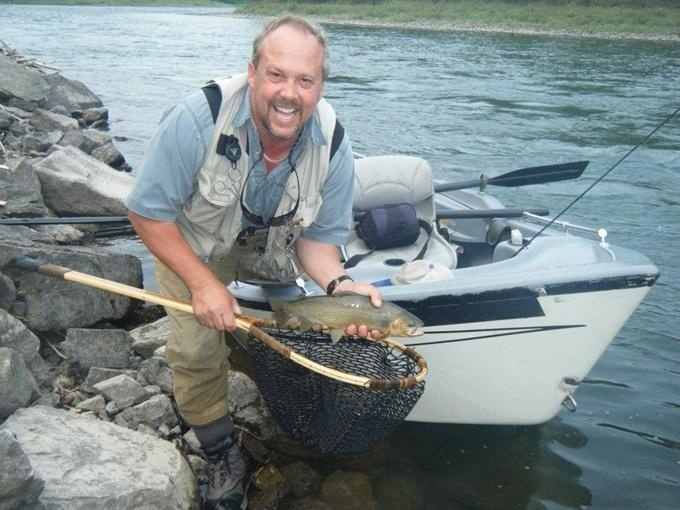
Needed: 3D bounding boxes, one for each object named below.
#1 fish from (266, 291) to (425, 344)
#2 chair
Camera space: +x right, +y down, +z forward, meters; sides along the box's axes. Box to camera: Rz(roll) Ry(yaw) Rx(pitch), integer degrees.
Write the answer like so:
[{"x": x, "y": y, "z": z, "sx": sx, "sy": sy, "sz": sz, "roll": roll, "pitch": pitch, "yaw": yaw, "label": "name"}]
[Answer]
[{"x": 0.035, "y": 0.403, "z": 3.936, "sx": 0.989, "sy": 0.286, "sz": 0.185, "roll": 2, "pitch": 34, "yaw": 3, "label": "fish"}, {"x": 0.613, "y": -0.320, "z": 6.131, "sx": 1.192, "sy": 0.886, "sz": 1.170, "roll": -6, "pitch": 55, "yaw": -6, "label": "chair"}]
